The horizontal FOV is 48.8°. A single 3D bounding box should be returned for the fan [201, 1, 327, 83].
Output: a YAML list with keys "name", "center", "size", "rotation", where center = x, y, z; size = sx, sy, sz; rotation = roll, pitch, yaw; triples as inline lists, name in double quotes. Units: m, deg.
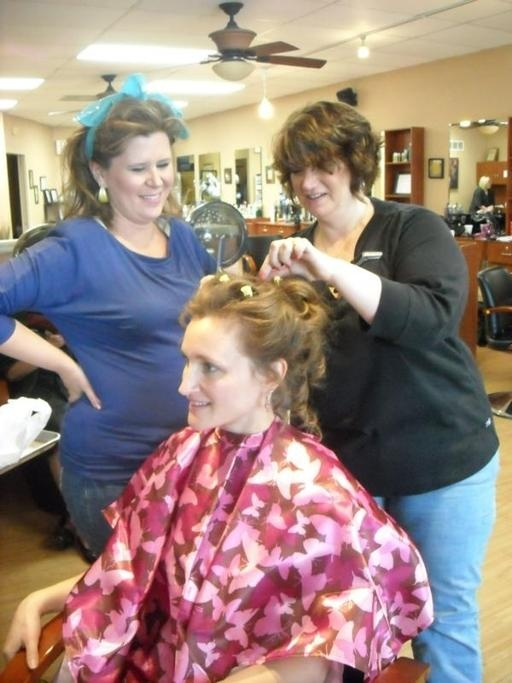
- name: "fan"
  center: [0.036, -2.303, 4.356]
  size: [0.695, 0.493, 0.940]
  rotation: [-2, 15, 8]
